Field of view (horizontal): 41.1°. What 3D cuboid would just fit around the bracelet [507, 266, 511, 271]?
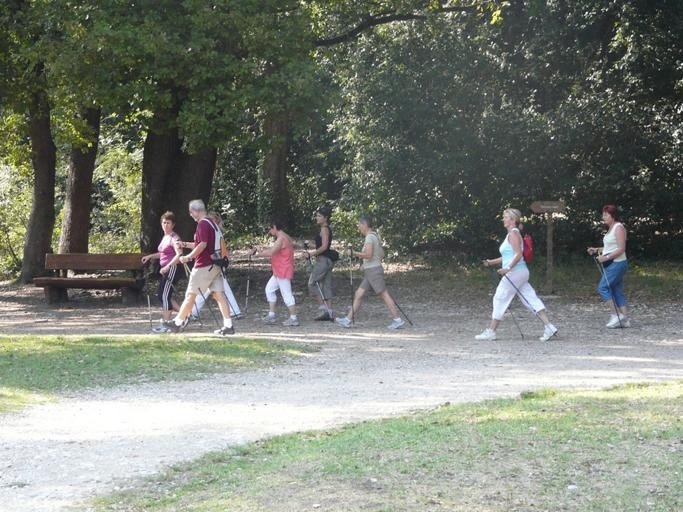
[{"bbox_3d":[2.939,0.237,16.044,0.084,0.077,0.022,4,1,23],"label":"bracelet"}]

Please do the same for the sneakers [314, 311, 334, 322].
[{"bbox_3d":[-0.394,1.242,18.519,0.473,0.268,0.158,3,-1,-1],"label":"sneakers"}]

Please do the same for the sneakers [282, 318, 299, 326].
[{"bbox_3d":[-1.066,1.294,17.997,0.311,0.162,0.387,-2,13,-4],"label":"sneakers"}]

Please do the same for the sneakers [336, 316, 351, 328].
[{"bbox_3d":[-0.036,1.302,17.764,0.349,0.163,0.139,21,-1,24],"label":"sneakers"}]

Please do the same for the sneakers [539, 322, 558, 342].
[{"bbox_3d":[3.661,1.403,16.352,0.202,0.206,0.456,-27,-10,-16],"label":"sneakers"}]

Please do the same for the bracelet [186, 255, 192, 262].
[{"bbox_3d":[-2.882,0.061,16.627,0.043,0.143,0.158,8,3,-37],"label":"bracelet"}]

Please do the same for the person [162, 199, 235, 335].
[{"bbox_3d":[-2.681,0.231,16.604,1.329,2.360,1.187,1,-1,-12],"label":"person"}]

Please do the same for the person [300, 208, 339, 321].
[{"bbox_3d":[-0.473,0.176,18.868,0.658,2.527,1.474,-2,14,-2],"label":"person"}]

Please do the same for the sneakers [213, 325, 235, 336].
[{"bbox_3d":[-2.218,1.355,16.402,0.407,0.158,0.148,2,1,4],"label":"sneakers"}]

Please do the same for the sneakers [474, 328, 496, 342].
[{"bbox_3d":[2.577,1.410,16.292,0.442,0.203,0.163,1,2,3],"label":"sneakers"}]

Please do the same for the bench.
[{"bbox_3d":[-6.105,0.537,21.597,2.699,1.038,0.813,0,14,15],"label":"bench"}]

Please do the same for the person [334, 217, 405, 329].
[{"bbox_3d":[0.542,0.385,17.590,1.295,2.214,0.820,-1,14,2],"label":"person"}]
